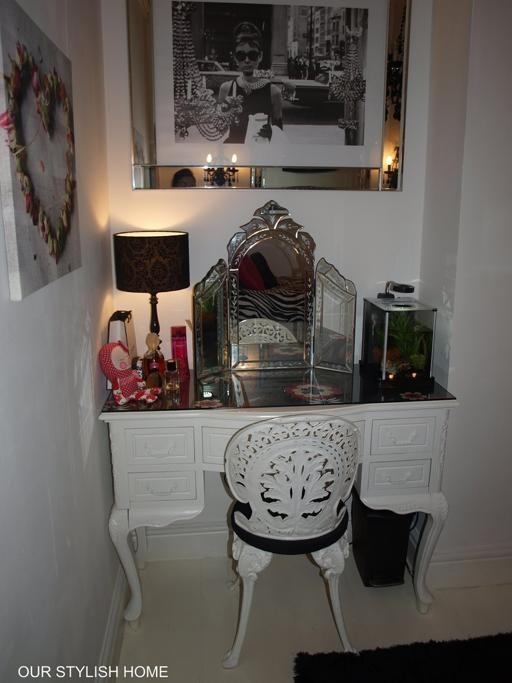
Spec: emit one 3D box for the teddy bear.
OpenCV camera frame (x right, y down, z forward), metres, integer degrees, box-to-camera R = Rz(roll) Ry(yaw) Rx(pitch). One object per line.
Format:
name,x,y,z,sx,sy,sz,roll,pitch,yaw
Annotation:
teddy bear,-0.411,0.131,1.705,0.060,0.244,0.149,-25,2,42

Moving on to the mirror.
mirror,0.053,-0.210,2.037,0.577,0.709,0.195,-3,26,-7

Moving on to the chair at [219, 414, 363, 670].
chair,0.107,0.622,1.637,0.417,0.924,0.330,1,11,8

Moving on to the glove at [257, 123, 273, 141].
glove,0.037,-0.789,1.954,0.050,0.056,0.014,-19,14,4

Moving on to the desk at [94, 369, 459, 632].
desk,0.099,0.538,1.788,0.765,0.585,0.327,-2,22,-4

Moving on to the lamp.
lamp,-0.330,-0.258,2.052,0.327,0.572,0.342,0,22,-2
